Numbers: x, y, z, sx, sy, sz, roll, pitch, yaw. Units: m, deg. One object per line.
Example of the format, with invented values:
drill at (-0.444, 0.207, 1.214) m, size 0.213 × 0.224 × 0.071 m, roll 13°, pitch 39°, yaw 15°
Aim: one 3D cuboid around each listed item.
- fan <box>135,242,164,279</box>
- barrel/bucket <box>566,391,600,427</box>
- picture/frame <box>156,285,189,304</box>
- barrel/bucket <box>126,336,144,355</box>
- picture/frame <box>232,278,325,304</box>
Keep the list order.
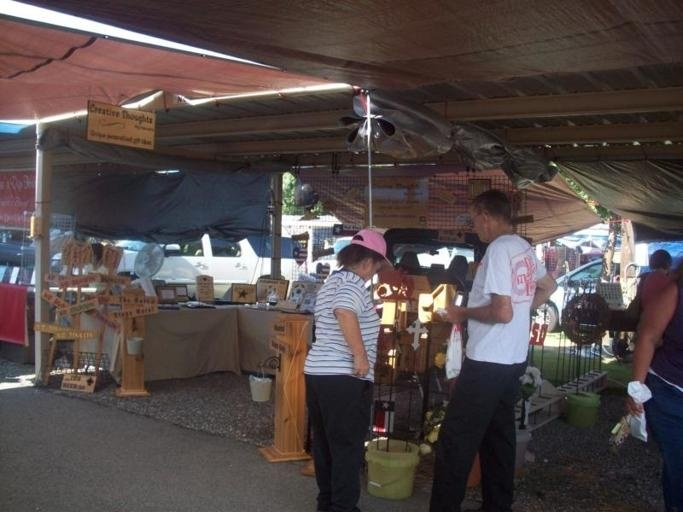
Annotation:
fan at (-3.102, 0.076, 9.265) m, size 0.495 × 0.555 × 0.322 m, roll 6°, pitch 5°, yaw 41°
barrel/bucket at (2.898, 1.814, 6.916) m, size 0.352 × 0.326 × 0.355 m, roll 1°, pitch -1°, yaw 0°
picture/frame at (-2.475, 0.555, 8.458) m, size 0.525 × 0.244 × 0.416 m, roll 0°, pitch 5°, yaw -36°
barrel/bucket at (-2.557, 1.109, 7.130) m, size 0.202 × 0.178 × 0.199 m, roll 2°, pitch 3°, yaw 0°
picture/frame at (-1.109, 0.481, 8.324) m, size 1.222 × 0.419 × 0.653 m, roll 6°, pitch 6°, yaw 18°
